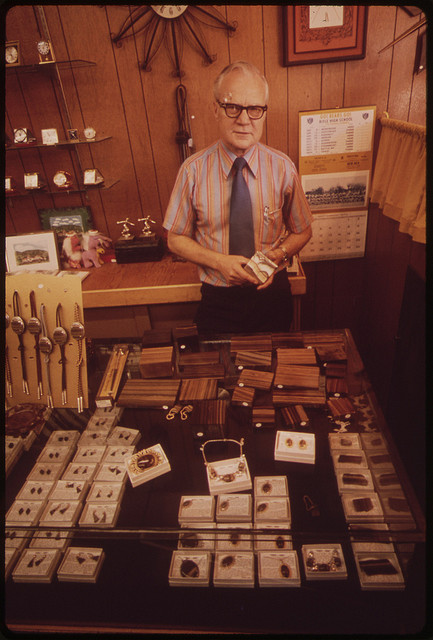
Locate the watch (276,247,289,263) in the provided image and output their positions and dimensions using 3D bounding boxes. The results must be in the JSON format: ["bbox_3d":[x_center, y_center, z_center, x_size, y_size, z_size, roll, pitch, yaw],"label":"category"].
[{"bbox_3d":[0.215,-0.211,1.452,0.010,0.042,0.042,-23,50,-13],"label":"watch"}]

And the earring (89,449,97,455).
[{"bbox_3d":[-0.324,0.346,1.154,0.016,0.004,0.013,-15,26,-15],"label":"earring"}]

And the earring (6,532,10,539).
[{"bbox_3d":[-0.471,0.486,0.998,0.010,0.010,0.002,5,-3,20],"label":"earring"}]

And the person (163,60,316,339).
[{"bbox_3d":[0.060,-0.346,1.390,0.486,0.787,0.199,-5,23,5],"label":"person"}]

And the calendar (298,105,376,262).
[{"bbox_3d":[0.353,-0.383,1.309,0.202,0.451,0.008,-2,34,9],"label":"calendar"}]

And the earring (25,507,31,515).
[{"bbox_3d":[-0.444,0.450,1.039,0.013,0.004,0.011,16,34,41],"label":"earring"}]

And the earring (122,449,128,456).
[{"bbox_3d":[-0.238,0.342,1.144,0.018,0.005,0.008,-23,29,-29],"label":"earring"}]

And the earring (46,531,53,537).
[{"bbox_3d":[-0.380,0.483,1.000,0.016,0.021,0.002,0,20,-8],"label":"earring"}]

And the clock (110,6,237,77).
[{"bbox_3d":[-0.108,-0.706,1.122,0.289,0.149,0.166,9,29,32],"label":"clock"}]

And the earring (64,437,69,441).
[{"bbox_3d":[-0.408,0.323,1.197,0.011,0.004,0.009,-8,25,0],"label":"earring"}]

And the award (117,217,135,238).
[{"bbox_3d":[-0.382,-0.393,1.874,0.079,0.087,0.036,0,19,2],"label":"award"}]

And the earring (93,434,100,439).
[{"bbox_3d":[-0.325,0.316,1.196,0.013,0.001,0.005,-2,69,31],"label":"earring"}]

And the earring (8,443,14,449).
[{"bbox_3d":[-0.544,0.332,1.167,0.015,0.004,0.015,0,26,17],"label":"earring"}]

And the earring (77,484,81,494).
[{"bbox_3d":[-0.334,0.411,1.070,0.008,0.004,0.016,-14,26,-14],"label":"earring"}]
